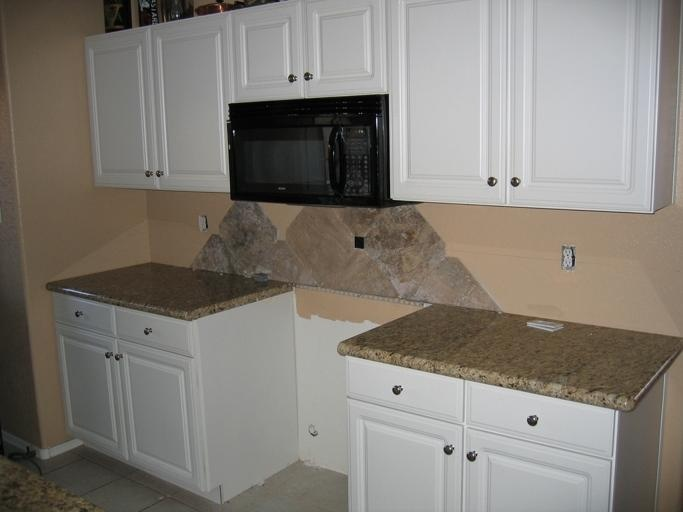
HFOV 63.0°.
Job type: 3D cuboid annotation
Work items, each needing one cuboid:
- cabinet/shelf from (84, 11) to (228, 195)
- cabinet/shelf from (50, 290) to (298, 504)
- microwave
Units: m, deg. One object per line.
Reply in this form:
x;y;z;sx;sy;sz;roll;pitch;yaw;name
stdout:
-1.019;-0.889;3.135;1.006;0.891;0.399;3;7;28;cabinet/shelf
-0.945;0.606;3.487;1.603;1.442;0.993;2;5;31;cabinet/shelf
-0.157;-0.495;2.634;0.797;0.522;0.553;4;7;31;microwave
